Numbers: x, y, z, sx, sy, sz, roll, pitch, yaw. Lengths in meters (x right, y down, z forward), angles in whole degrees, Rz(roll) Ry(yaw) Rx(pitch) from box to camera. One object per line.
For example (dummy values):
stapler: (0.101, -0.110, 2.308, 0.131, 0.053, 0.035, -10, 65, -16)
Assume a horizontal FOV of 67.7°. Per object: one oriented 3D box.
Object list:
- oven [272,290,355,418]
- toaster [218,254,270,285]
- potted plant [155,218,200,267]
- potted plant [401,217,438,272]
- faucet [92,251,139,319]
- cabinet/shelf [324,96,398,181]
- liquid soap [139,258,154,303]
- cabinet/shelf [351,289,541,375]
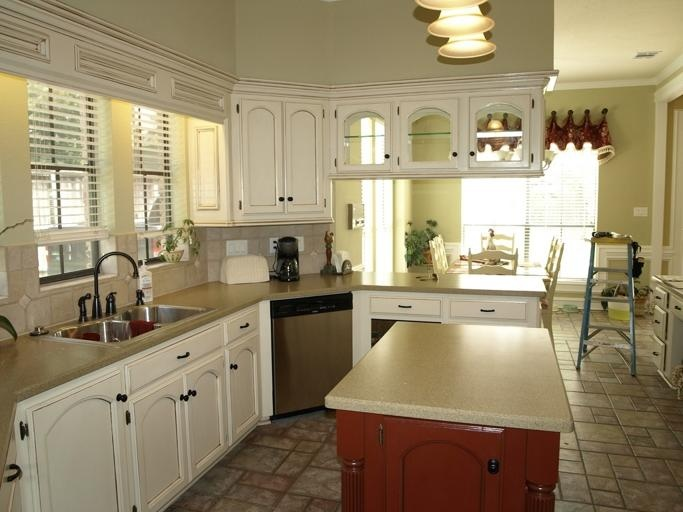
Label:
oven: (-0.154, 0.912, 4.255, 0.724, 1.001, 0.540, -9, -27, 11)
toaster: (-0.856, 0.123, 4.433, 0.410, 0.227, 0.233, -3, 11, -14)
potted plant: (-1.307, -0.117, 4.139, 0.399, 0.342, 0.349, -7, 13, -34)
potted plant: (1.266, -0.226, 8.624, 0.739, 0.887, 0.738, 0, 0, 0)
faucet: (-1.501, 0.156, 3.365, 0.292, 0.403, 0.488, -5, 11, -22)
cabinet/shelf: (0.165, -1.035, 4.448, 0.726, 0.833, 0.304, 0, 0, 14)
liquid soap: (-1.389, 0.189, 3.592, 0.085, 0.280, 0.196, -5, 12, -22)
cabinet/shelf: (0.718, 0.463, 3.251, 0.653, 0.619, 0.229, 0, 3, 9)
